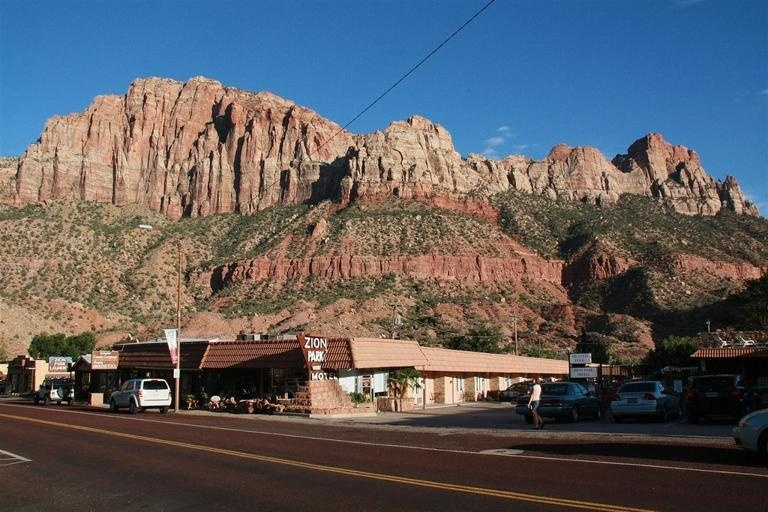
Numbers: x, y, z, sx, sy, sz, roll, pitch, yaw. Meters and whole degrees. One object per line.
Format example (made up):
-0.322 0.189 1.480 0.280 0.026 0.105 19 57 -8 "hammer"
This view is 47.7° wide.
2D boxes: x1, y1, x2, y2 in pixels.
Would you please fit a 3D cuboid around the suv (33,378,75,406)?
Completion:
-27.283 11.273 71.733 1.929 1.604 3.438 6 -8 -35 "suv"

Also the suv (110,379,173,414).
-17.063 9.741 59.967 4.606 2.274 1.997 -7 -13 27 "suv"
